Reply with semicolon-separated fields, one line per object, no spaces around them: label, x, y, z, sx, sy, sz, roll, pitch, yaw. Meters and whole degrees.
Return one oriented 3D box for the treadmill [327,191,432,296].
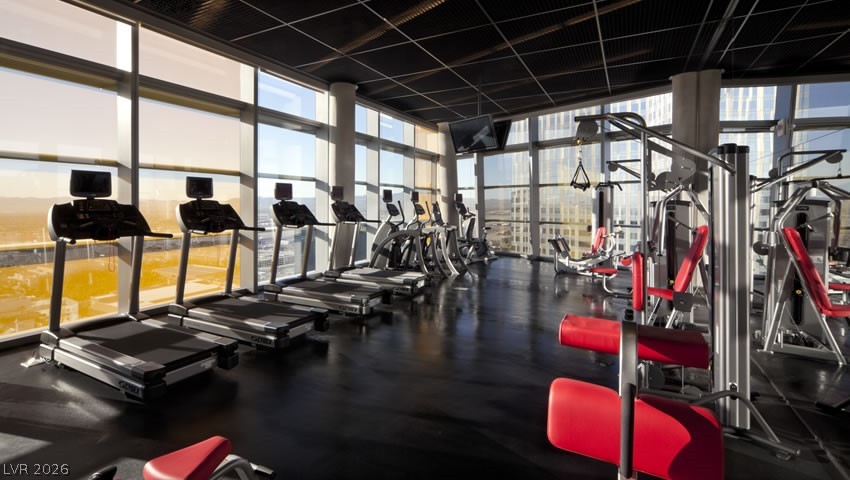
treadmill;-0.894;0.208;10.540;2.550;2.426;1.684;1;1;28

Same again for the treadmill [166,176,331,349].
treadmill;-1.639;0.424;8.333;3.351;3.163;1.886;4;5;30

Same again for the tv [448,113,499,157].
tv;1.138;-2.578;11.706;1.435;0.824;0.194;-5;19;44

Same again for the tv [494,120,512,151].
tv;1.735;-2.412;11.134;0.342;0.647;0.656;1;13;10

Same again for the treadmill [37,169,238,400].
treadmill;-3.924;0.595;8.295;3.614;3.611;2.444;3;2;31

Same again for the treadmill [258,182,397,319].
treadmill;-1.594;-0.042;9.585;2.981;2.644;1.664;-3;-2;11
